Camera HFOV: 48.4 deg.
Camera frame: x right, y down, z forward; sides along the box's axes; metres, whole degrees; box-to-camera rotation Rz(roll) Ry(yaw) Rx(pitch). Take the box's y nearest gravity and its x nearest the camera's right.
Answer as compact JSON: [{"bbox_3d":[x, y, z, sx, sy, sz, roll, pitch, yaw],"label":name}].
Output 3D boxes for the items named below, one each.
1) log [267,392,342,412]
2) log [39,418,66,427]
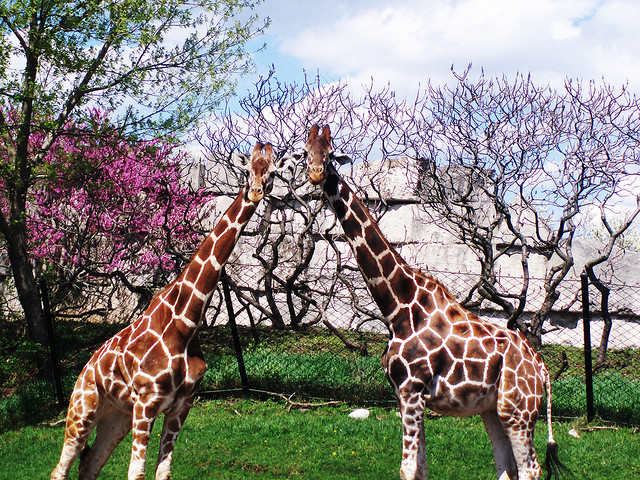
[{"bbox_3d":[-0.189,2.825,12.217,0.806,0.091,0.338,3,16,20],"label":"log"},{"bbox_3d":[-4.452,3.031,11.757,0.606,0.160,0.156,-13,-19,31],"label":"log"}]
